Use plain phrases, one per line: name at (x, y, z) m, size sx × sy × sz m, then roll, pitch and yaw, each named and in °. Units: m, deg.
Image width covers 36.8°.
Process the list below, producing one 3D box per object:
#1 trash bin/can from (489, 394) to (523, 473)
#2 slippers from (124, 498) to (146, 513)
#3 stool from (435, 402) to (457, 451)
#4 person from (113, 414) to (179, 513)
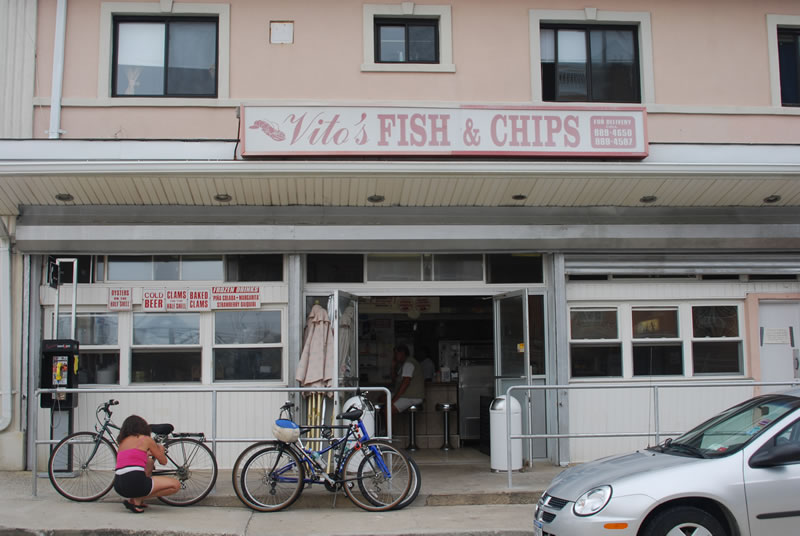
trash bin/can at (1.738, 2.746, 19.896) m, size 0.510 × 1.244 × 0.956 m, roll -1°, pitch -8°, yaw 4°
slippers at (-4.084, 3.630, 18.331) m, size 0.164 × 0.114 × 0.295 m, roll 22°, pitch -2°, yaw 20°
stool at (0.859, 3.011, 22.832) m, size 0.263 × 0.871 × 0.362 m, roll -6°, pitch -10°, yaw 31°
person at (-3.978, 3.009, 18.467) m, size 0.913 × 1.458 × 0.430 m, roll 3°, pitch -9°, yaw -22°
